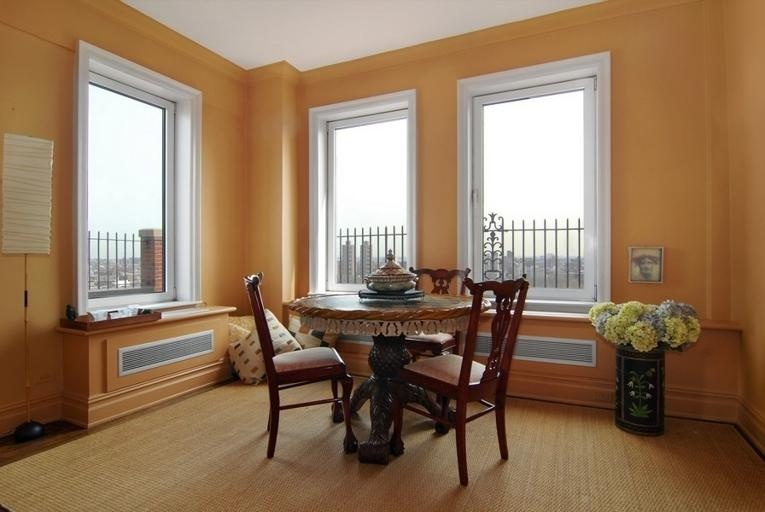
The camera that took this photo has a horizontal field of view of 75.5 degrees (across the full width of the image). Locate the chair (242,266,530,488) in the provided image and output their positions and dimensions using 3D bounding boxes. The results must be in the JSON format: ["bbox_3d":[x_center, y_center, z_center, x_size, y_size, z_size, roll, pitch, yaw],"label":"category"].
[{"bbox_3d":[0.161,0.793,4.142,1.797,1.263,1.622,-1,1,16],"label":"chair"}]

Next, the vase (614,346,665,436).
[{"bbox_3d":[2.194,1.155,4.273,0.392,0.672,0.399,1,-6,27],"label":"vase"}]

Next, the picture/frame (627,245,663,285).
[{"bbox_3d":[2.418,0.080,4.544,0.341,0.472,0.047,-1,3,15],"label":"picture/frame"}]

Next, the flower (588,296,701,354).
[{"bbox_3d":[2.280,0.639,4.389,0.863,0.438,0.927,-3,2,15],"label":"flower"}]
